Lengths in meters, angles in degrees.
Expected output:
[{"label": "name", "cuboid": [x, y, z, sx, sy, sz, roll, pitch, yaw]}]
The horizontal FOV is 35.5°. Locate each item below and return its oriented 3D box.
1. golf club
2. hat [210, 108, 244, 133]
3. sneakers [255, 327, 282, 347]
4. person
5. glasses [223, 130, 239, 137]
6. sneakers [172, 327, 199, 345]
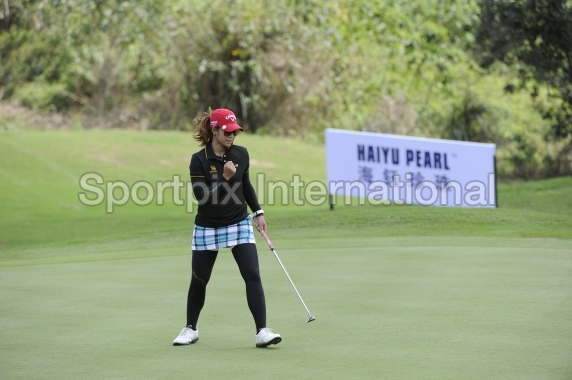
[{"label": "golf club", "cuboid": [-0.038, 1.361, 14.489, 0.224, 1.638, 0.234, -31, 13, -6]}, {"label": "hat", "cuboid": [-0.809, -0.936, 12.008, 0.408, 0.228, 0.275, 10, 12, 27]}, {"label": "sneakers", "cuboid": [-0.241, 1.989, 11.962, 0.331, 0.273, 0.199, 0, 3, -1]}, {"label": "person", "cuboid": [-0.812, 0.512, 12.064, 1.212, 3.211, 0.734, 2, 4, 25]}, {"label": "glasses", "cuboid": [-0.744, -0.751, 11.938, 0.150, 0.076, 0.080, -2, 4, -33]}, {"label": "sneakers", "cuboid": [-1.362, 2.008, 12.136, 0.184, 0.171, 0.348, -5, -5, 37]}]
